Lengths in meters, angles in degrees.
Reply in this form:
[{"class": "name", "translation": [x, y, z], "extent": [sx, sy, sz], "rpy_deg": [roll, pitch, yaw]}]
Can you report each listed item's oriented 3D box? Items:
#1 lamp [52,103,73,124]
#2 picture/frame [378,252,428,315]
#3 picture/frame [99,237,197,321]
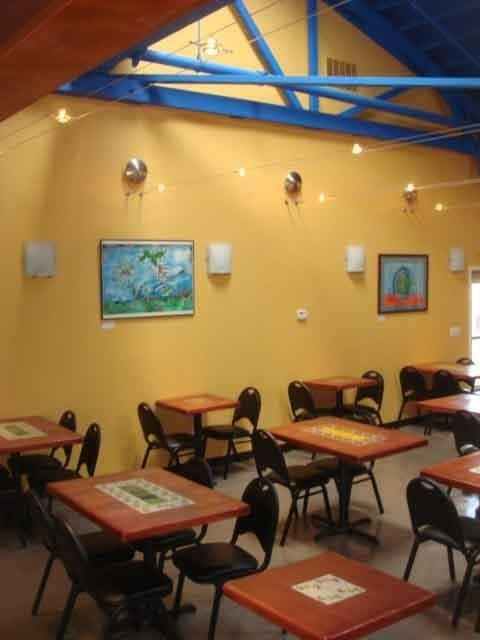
[{"class": "lamp", "translation": [-1.500, -1.719, 4.351], "extent": [0.134, 0.156, 0.063], "rpy_deg": [-1, -14, -13]}, {"class": "picture/frame", "translation": [2.169, -0.488, 6.927], "extent": [0.913, 0.800, 0.064], "rpy_deg": [-2, 6, -32]}, {"class": "picture/frame", "translation": [-0.921, -0.387, 4.931], "extent": [0.865, 0.589, 0.090], "rpy_deg": [-3, 7, -33]}]
